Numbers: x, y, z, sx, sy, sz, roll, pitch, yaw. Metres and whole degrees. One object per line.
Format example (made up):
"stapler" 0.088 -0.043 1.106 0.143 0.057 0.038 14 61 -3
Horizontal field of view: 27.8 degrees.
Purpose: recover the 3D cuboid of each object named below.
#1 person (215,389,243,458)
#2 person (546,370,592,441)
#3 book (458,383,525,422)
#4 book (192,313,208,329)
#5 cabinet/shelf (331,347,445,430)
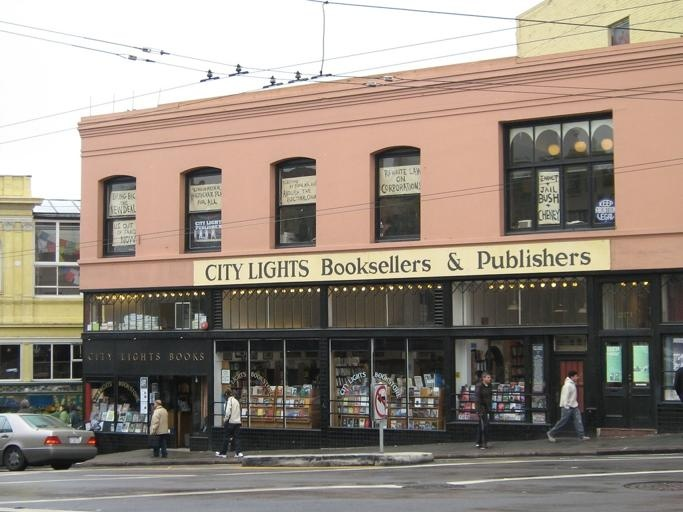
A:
"person" -3.086 4.785 39.554 0.808 2.142 0.667 -6 -8 44
"person" 6.225 4.124 37.712 0.897 2.042 0.995 5 -9 -42
"book" 4.266 4.148 38.627 1.207 0.759 0.381 0 0 13
"book" -4.431 2.010 42.943 0.236 0.525 0.654 0 -1 -38
"cabinet/shelf" 1.370 3.805 40.321 3.425 2.413 1.427 -8 -8 29
